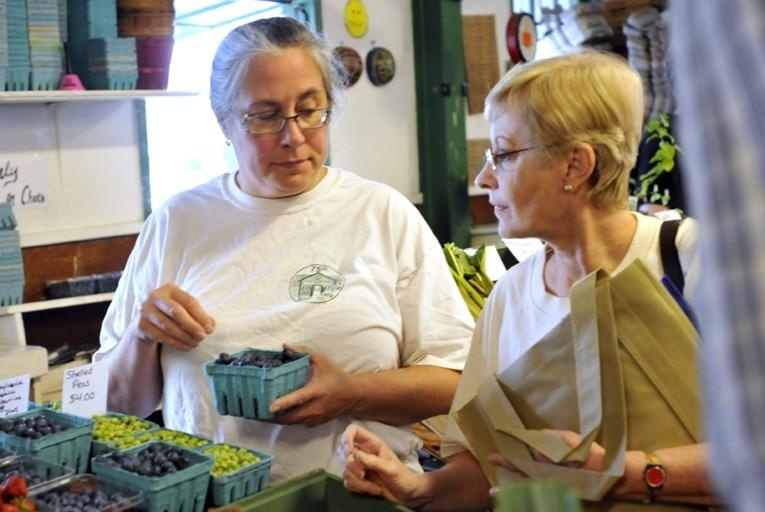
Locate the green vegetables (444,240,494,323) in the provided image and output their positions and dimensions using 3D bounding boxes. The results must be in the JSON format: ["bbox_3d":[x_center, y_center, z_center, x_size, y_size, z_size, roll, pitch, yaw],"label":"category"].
[{"bbox_3d":[0.391,0.096,3.332,0.182,0.243,0.338,0,31,5],"label":"green vegetables"}]

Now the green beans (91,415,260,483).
[{"bbox_3d":[-0.575,0.488,1.907,0.578,0.147,0.209,-4,1,39],"label":"green beans"}]

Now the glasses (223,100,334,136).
[{"bbox_3d":[-0.285,-0.393,2.125,0.258,0.076,0.057,-5,1,-9],"label":"glasses"}]
